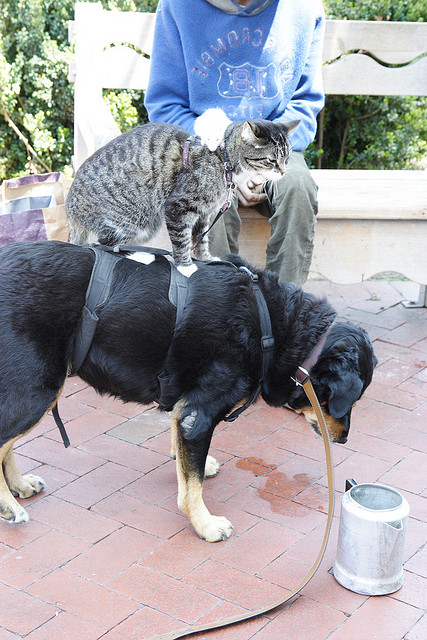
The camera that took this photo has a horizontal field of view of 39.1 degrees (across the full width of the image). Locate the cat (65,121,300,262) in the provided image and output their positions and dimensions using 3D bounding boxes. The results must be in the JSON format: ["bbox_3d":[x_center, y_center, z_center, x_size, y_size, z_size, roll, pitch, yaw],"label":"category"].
[{"bbox_3d":[-0.199,-0.544,2.746,1.289,0.583,0.430,4,10,37],"label":"cat"}]

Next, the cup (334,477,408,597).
[{"bbox_3d":[0.499,0.691,1.917,0.234,0.270,0.303,-1,11,-12],"label":"cup"}]
